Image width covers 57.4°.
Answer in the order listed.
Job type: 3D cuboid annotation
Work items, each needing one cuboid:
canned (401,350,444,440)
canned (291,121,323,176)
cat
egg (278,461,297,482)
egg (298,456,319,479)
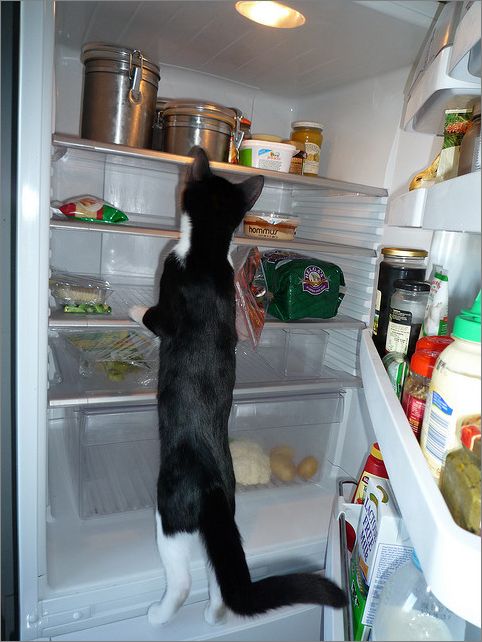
[{"bbox_3d":[0.239,0.097,0.562,0.050,0.091,0.052,-11,15,-28],"label":"canned"},{"bbox_3d":[0.216,-0.535,1.374,0.087,0.148,0.089,-1,18,-10],"label":"canned"},{"bbox_3d":[-0.011,0.174,0.874,0.257,1.020,0.414,-1,10,-34],"label":"cat"},{"bbox_3d":[0.149,0.477,1.392,0.049,0.069,0.050,12,-19,6],"label":"egg"},{"bbox_3d":[0.217,0.476,1.422,0.053,0.075,0.055,2,8,-14],"label":"egg"}]
